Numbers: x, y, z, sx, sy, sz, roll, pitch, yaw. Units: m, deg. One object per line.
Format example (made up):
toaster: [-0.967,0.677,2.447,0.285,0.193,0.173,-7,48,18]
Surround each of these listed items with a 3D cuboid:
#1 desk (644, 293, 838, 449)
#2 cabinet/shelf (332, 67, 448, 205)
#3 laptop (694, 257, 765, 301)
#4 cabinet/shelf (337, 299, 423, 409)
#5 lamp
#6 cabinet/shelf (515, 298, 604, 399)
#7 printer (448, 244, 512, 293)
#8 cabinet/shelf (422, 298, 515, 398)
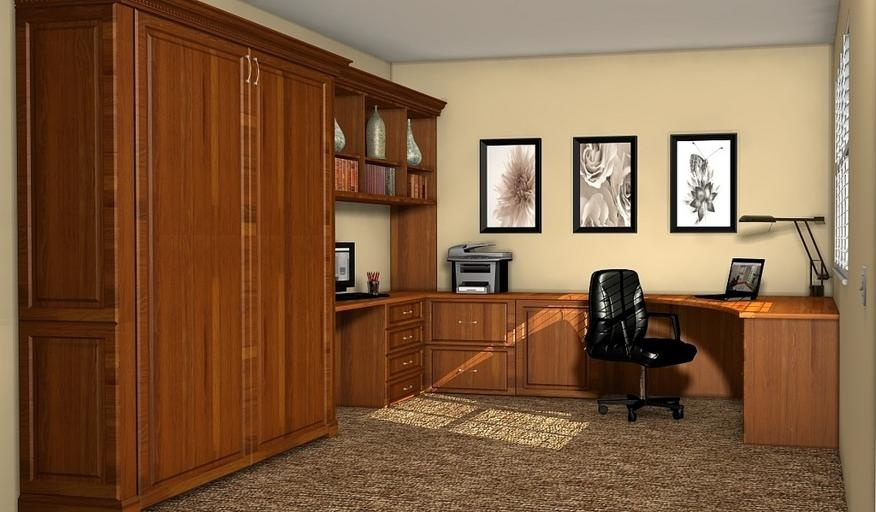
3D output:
desk: [3.236,1.017,6.421,1.518,0.861,1.493,-1,1,21]
cabinet/shelf: [-0.561,-1.340,7.185,0.555,1.553,1.914,-2,-4,26]
laptop: [3.229,0.260,6.869,0.564,0.364,0.521,2,-2,-32]
cabinet/shelf: [-0.691,1.102,7.307,1.014,1.096,0.928,-3,0,-41]
lamp: [3.880,0.018,7.178,0.975,0.878,0.333,1,-6,20]
cabinet/shelf: [1.376,1.012,7.083,1.219,1.316,0.481,-1,-3,10]
printer: [0.495,0.141,7.605,0.765,0.518,0.561,2,6,26]
cabinet/shelf: [0.398,1.031,7.312,1.189,1.233,0.638,0,-3,12]
